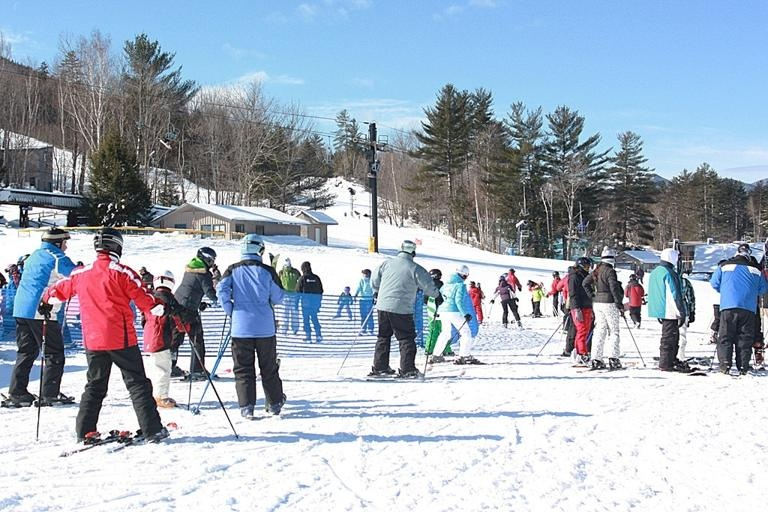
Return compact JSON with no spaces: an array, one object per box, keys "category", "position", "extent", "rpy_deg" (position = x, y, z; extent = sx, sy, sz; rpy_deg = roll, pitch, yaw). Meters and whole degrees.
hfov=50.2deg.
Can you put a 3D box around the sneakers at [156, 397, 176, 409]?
[{"category":"sneakers","position":[-3.591,2.453,13.617],"extent":[0.376,0.169,0.139],"rpy_deg":[1,6,-9]}]

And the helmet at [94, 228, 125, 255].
[{"category":"helmet","position":[-4.250,-0.228,12.613],"extent":[0.363,0.397,0.447],"rpy_deg":[7,9,7]}]

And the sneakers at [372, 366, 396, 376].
[{"category":"sneakers","position":[-0.016,2.219,15.734],"extent":[0.468,0.220,0.171],"rpy_deg":[0,-2,-8]}]

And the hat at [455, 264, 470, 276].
[{"category":"hat","position":[1.595,0.302,17.033],"extent":[0.266,0.263,0.218],"rpy_deg":[-1,6,-41]}]

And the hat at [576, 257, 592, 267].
[{"category":"hat","position":[4.077,0.162,16.713],"extent":[0.237,0.233,0.212],"rpy_deg":[-9,12,0]}]

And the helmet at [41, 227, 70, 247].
[{"category":"helmet","position":[-5.514,-0.334,13.778],"extent":[0.425,0.407,0.316],"rpy_deg":[-3,11,-40]}]

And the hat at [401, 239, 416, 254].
[{"category":"hat","position":[0.469,-0.148,15.520],"extent":[0.209,0.271,0.249],"rpy_deg":[8,-9,-2]}]

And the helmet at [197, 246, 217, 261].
[{"category":"helmet","position":[-3.168,-0.048,14.715],"extent":[0.288,0.256,0.227],"rpy_deg":[2,15,-29]}]

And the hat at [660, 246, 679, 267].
[{"category":"hat","position":[5.583,0.024,16.030],"extent":[0.261,0.220,0.438],"rpy_deg":[9,18,34]}]

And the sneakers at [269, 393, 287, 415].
[{"category":"sneakers","position":[-1.737,2.448,13.452],"extent":[0.145,0.191,0.438],"rpy_deg":[-6,13,6]}]

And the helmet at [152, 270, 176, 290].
[{"category":"helmet","position":[-3.752,0.434,14.009],"extent":[0.349,0.316,0.289],"rpy_deg":[1,-1,-21]}]

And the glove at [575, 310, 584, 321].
[{"category":"glove","position":[3.908,1.207,16.428],"extent":[0.135,0.162,0.216],"rpy_deg":[2,-8,-6]}]

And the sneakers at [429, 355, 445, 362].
[{"category":"sneakers","position":[1.104,2.171,17.148],"extent":[0.333,0.247,0.117],"rpy_deg":[-1,2,-1]}]

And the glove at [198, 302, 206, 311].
[{"category":"glove","position":[-3.195,0.905,14.482],"extent":[0.121,0.135,0.152],"rpy_deg":[-1,-1,3]}]

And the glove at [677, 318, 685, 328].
[{"category":"glove","position":[5.756,1.298,15.847],"extent":[0.057,0.202,0.141],"rpy_deg":[9,-4,39]}]

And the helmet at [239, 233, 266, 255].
[{"category":"helmet","position":[-2.163,-0.150,13.426],"extent":[0.294,0.385,0.380],"rpy_deg":[1,27,7]}]

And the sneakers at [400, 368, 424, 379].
[{"category":"sneakers","position":[0.538,2.239,15.557],"extent":[0.474,0.228,0.179],"rpy_deg":[0,2,0]}]

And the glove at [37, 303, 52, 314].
[{"category":"glove","position":[-5.335,0.846,12.923],"extent":[0.143,0.156,0.173],"rpy_deg":[6,-9,-40]}]

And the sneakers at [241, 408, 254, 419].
[{"category":"sneakers","position":[-2.175,2.508,13.153],"extent":[0.212,0.258,0.150],"rpy_deg":[1,-8,-11]}]

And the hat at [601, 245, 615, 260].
[{"category":"hat","position":[4.497,-0.038,16.437],"extent":[0.234,0.252,0.289],"rpy_deg":[1,4,12]}]

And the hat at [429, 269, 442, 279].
[{"category":"hat","position":[1.086,0.396,17.159],"extent":[0.223,0.186,0.175],"rpy_deg":[-29,9,7]}]

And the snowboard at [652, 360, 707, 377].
[{"category":"snowboard","position":[5.739,2.168,15.781],"extent":[0.878,0.278,0.396],"rpy_deg":[1,0,23]}]

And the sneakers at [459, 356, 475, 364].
[{"category":"sneakers","position":[1.712,2.165,16.973],"extent":[0.392,0.175,0.134],"rpy_deg":[-1,2,-5]}]
